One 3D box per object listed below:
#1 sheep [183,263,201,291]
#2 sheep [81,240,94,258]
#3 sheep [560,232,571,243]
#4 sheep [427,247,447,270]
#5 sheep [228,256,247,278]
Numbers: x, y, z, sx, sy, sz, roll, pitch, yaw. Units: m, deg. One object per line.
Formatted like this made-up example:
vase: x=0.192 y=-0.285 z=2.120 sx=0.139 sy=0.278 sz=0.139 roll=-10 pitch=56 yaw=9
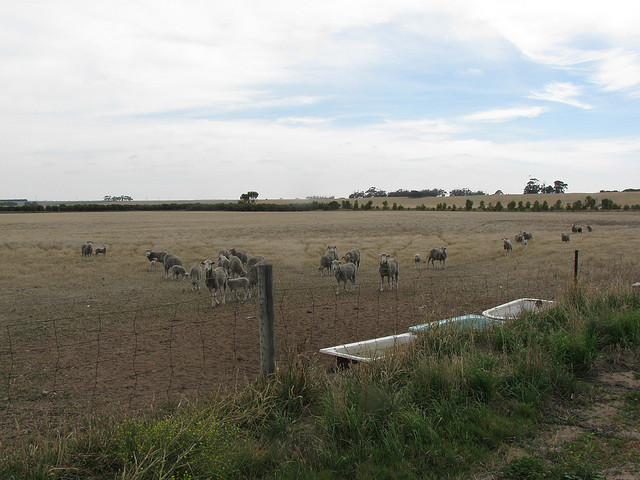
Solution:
sheep: x=-5.076 y=1.464 z=22.312 sx=0.357 sy=0.989 sz=0.782 roll=-1 pitch=5 yaw=-10
sheep: x=-14.282 y=0.574 z=33.804 sx=0.583 sy=0.687 sz=1.404 roll=-3 pitch=5 yaw=-28
sheep: x=18.304 y=-0.244 z=41.397 sx=0.560 sy=1.079 sz=1.893 roll=7 pitch=12 yaw=26
sheep: x=6.141 y=0.878 z=29.298 sx=0.942 sy=1.037 sz=1.710 roll=1 pitch=5 yaw=11
sheep: x=-3.658 y=1.115 z=24.051 sx=0.420 sy=0.817 sz=1.506 roll=-1 pitch=15 yaw=-18
